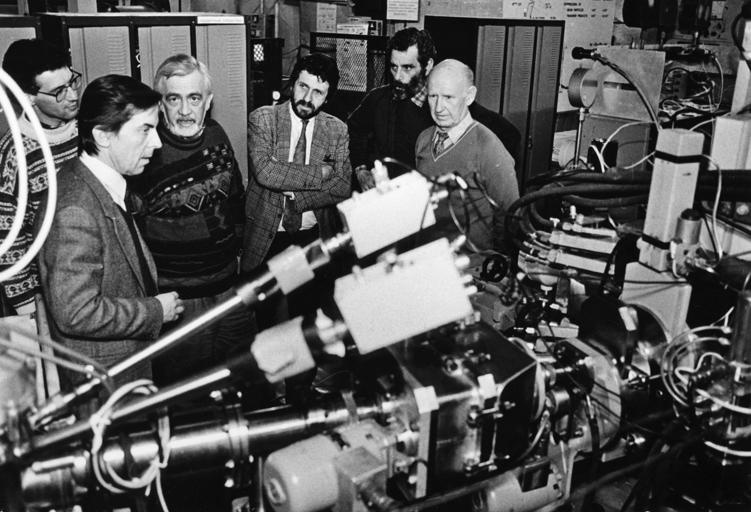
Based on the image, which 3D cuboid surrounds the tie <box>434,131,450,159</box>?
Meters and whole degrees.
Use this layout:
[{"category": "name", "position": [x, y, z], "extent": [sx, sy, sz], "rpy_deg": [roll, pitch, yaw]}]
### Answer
[{"category": "tie", "position": [0.324, -0.559, 3.164], "extent": [0.031, 0.121, 0.088], "rpy_deg": [6, 24, -36]}]

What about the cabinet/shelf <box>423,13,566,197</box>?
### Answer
[{"category": "cabinet/shelf", "position": [1.230, -1.460, 5.598], "extent": [0.765, 1.371, 0.466], "rpy_deg": [5, 33, 12]}]

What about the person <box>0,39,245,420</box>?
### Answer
[{"category": "person", "position": [-0.952, 0.004, 2.442], "extent": [0.485, 1.361, 0.994], "rpy_deg": [1, 17, 5]}]

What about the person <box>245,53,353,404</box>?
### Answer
[{"category": "person", "position": [-0.443, -0.513, 3.447], "extent": [0.614, 1.132, 0.523], "rpy_deg": [-1, 16, -3]}]
